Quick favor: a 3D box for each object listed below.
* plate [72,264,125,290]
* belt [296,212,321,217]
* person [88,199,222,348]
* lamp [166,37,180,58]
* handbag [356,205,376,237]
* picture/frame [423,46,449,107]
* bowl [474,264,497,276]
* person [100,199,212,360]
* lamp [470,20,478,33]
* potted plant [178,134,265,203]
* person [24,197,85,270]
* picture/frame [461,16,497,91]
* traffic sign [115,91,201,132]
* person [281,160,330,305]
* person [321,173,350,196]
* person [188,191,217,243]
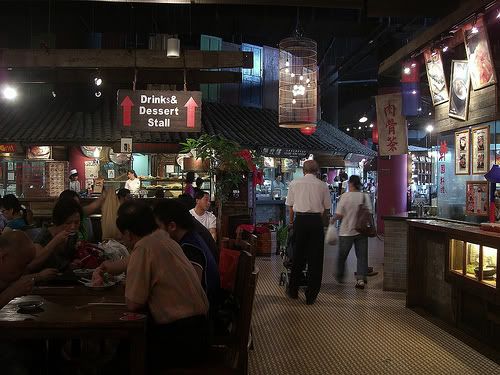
[{"bbox_3d":[-1.647,0.989,4.884,0.286,0.074,0.292,4,5,17],"label":"plate"},{"bbox_3d":[0.941,0.433,7.300,0.390,0.069,0.108,2,10,0],"label":"belt"},{"bbox_3d":[-0.974,1.151,4.487,1.081,1.967,0.769,1,4,19],"label":"person"},{"bbox_3d":[-1.311,-2.416,7.877,0.228,0.331,0.336,-1,10,-13],"label":"lamp"},{"bbox_3d":[1.979,0.592,7.888,0.372,0.566,0.298,1,9,-3],"label":"handbag"},{"bbox_3d":[3.023,-1.774,7.393,0.315,0.888,0.585,1,10,-3],"label":"picture/frame"},{"bbox_3d":[2.973,1.048,5.771,0.228,0.089,0.180,-4,4,-41],"label":"bowl"},{"bbox_3d":[-0.982,1.145,4.471,1.122,1.936,0.762,-2,-3,11],"label":"person"},{"bbox_3d":[3.090,-2.213,6.317,0.050,0.147,0.137,-2,11,-19],"label":"lamp"},{"bbox_3d":[-0.599,-0.555,10.204,1.625,1.338,1.746,3,3,-18],"label":"potted plant"},{"bbox_3d":[-2.273,0.553,5.355,0.527,0.760,0.618,-1,10,-16],"label":"person"},{"bbox_3d":[3.156,-1.858,6.345,0.199,0.983,0.621,0,10,-11],"label":"picture/frame"},{"bbox_3d":[-1.518,-1.281,7.688,1.341,0.645,0.355,4,10,8],"label":"traffic sign"},{"bbox_3d":[0.948,0.702,7.371,0.654,2.189,0.814,-6,12,-37],"label":"person"},{"bbox_3d":[2.819,-0.108,15.110,0.462,0.896,0.903,-1,3,-18],"label":"person"},{"bbox_3d":[-0.791,0.548,7.483,0.450,1.001,0.507,13,-24,-33],"label":"person"}]
